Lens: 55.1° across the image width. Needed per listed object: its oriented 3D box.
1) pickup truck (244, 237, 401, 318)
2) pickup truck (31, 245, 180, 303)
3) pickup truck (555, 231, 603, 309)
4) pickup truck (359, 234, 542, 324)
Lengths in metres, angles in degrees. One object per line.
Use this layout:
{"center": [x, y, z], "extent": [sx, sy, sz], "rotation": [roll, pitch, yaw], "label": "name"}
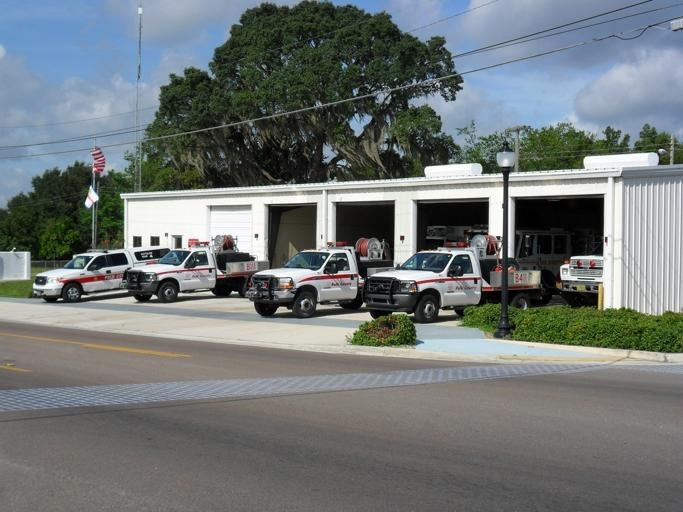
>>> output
{"center": [-0.730, 0.681, 24.098], "extent": [2.462, 2.713, 5.458], "rotation": [-3, -4, 44], "label": "pickup truck"}
{"center": [-11.463, 0.720, 31.225], "extent": [2.262, 2.082, 6.074], "rotation": [-2, 0, 36], "label": "pickup truck"}
{"center": [9.635, 0.821, 25.941], "extent": [1.951, 2.257, 3.672], "rotation": [-2, -2, 32], "label": "pickup truck"}
{"center": [3.660, 0.774, 22.099], "extent": [5.564, 2.545, 2.518], "rotation": [2, -3, -38], "label": "pickup truck"}
